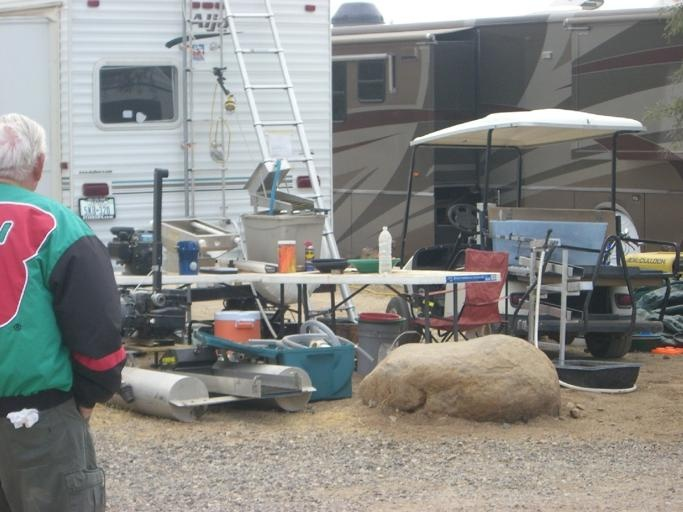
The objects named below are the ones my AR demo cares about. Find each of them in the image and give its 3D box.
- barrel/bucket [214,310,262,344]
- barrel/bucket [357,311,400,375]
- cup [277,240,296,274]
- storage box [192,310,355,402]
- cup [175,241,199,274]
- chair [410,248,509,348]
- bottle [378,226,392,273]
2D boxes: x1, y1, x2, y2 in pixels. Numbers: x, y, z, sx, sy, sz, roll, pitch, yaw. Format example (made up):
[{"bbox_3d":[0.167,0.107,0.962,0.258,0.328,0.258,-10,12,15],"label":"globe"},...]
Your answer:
[{"bbox_3d":[-0.931,0.594,13.860,0.300,0.217,0.305,1,1,0],"label":"barrel/bucket"},{"bbox_3d":[0.338,0.786,14.489,0.479,0.606,0.549,0,2,3],"label":"barrel/bucket"},{"bbox_3d":[-0.490,-0.021,14.091,0.158,0.283,0.262,1,3,-4],"label":"cup"},{"bbox_3d":[-0.533,0.855,13.679,1.179,0.589,0.678,-2,2,-23],"label":"storage box"},{"bbox_3d":[-1.397,-0.011,14.124,0.195,0.303,0.218,1,3,-6],"label":"cup"},{"bbox_3d":[1.105,0.463,14.212,0.765,1.149,0.619,5,-5,-43],"label":"chair"},{"bbox_3d":[0.406,-0.081,13.915,0.111,0.406,0.338,1,3,3],"label":"bottle"}]
